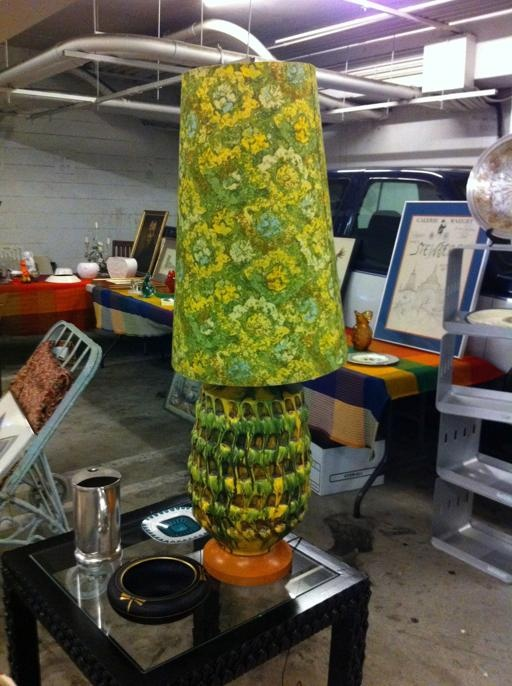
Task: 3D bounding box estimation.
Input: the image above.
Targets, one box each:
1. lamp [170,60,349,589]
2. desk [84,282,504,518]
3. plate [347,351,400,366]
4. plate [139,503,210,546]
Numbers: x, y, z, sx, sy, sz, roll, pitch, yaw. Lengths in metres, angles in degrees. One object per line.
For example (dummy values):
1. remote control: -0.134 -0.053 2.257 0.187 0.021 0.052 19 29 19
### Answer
1. lamp: 0.007 0.008 0.949 0.286 0.942 0.254 -6 12 -38
2. desk: 0.278 0.265 2.025 0.486 0.289 1.291 -21 29 -36
3. plate: 0.582 0.077 2.530 0.246 0.029 0.262 3 10 9
4. plate: -0.191 0.440 1.235 0.109 0.017 0.102 -9 23 -34
